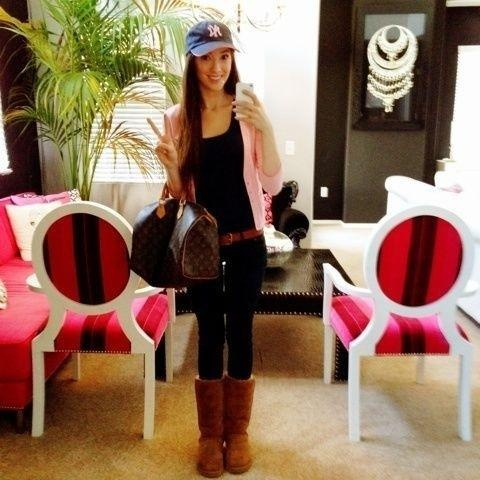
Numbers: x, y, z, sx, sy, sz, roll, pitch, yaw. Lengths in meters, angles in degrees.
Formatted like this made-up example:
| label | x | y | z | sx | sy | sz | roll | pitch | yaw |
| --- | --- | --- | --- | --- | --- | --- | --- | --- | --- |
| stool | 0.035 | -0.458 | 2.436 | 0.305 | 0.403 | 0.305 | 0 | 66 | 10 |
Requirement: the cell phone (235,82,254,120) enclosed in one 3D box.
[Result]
| label | x | y | z | sx | sy | sz | roll | pitch | yaw |
| --- | --- | --- | --- | --- | --- | --- | --- | --- | --- |
| cell phone | 0.015 | -0.469 | 1.401 | 0.054 | 0.061 | 0.064 | -1 | 10 | -6 |

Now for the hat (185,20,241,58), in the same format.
| label | x | y | z | sx | sy | sz | roll | pitch | yaw |
| --- | --- | --- | --- | --- | --- | --- | --- | --- | --- |
| hat | -0.088 | -0.602 | 1.356 | 0.092 | 0.086 | 0.137 | -7 | 23 | -17 |

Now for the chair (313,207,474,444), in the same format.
| label | x | y | z | sx | sy | sz | roll | pitch | yaw |
| --- | --- | --- | --- | --- | --- | --- | --- | --- | --- |
| chair | 0.638 | 0.304 | 1.805 | 0.637 | 0.939 | 0.466 | 3 | 9 | 19 |

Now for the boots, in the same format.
| label | x | y | z | sx | sy | sz | roll | pitch | yaw |
| --- | --- | --- | --- | --- | --- | --- | --- | --- | --- |
| boots | -0.052 | 0.633 | 1.577 | 0.206 | 0.377 | 0.273 | 0 | -6 | -4 |

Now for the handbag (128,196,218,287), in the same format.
| label | x | y | z | sx | sy | sz | roll | pitch | yaw |
| --- | --- | --- | --- | --- | --- | --- | --- | --- | --- |
| handbag | -0.195 | 0.005 | 1.353 | 0.227 | 0.302 | 0.096 | 3 | 6 | 39 |
